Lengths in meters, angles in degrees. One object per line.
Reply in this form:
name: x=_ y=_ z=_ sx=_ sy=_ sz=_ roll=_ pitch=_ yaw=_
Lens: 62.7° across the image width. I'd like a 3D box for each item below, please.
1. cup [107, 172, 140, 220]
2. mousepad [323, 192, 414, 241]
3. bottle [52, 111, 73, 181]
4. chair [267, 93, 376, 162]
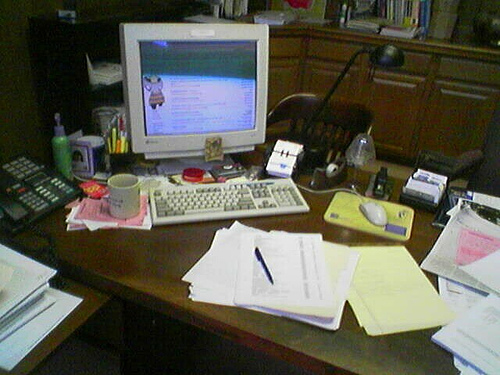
cup: x=-0.412 y=0.022 z=1.400 sx=0.095 sy=0.120 sz=0.158 roll=15 pitch=25 yaw=18
mousepad: x=0.413 y=0.105 z=1.437 sx=0.217 sy=0.017 sz=0.170 roll=15 pitch=37 yaw=19
bottle: x=-0.691 y=-0.127 z=1.516 sx=0.057 sy=0.193 sz=0.060 roll=2 pitch=32 yaw=-1
chair: x=0.334 y=-0.286 z=1.981 sx=0.314 sy=0.414 sz=0.292 roll=30 pitch=26 yaw=12
